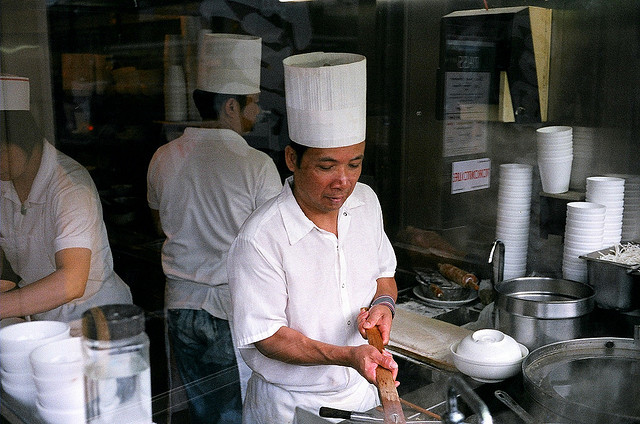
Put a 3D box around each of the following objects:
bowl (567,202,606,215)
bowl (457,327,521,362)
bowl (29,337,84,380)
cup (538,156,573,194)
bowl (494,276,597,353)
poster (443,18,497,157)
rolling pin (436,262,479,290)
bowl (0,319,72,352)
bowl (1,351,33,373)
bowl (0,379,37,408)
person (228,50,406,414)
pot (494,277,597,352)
[{"bbox_3d":[1.162,-0.017,2.381,0.083,0.028,0.081,-1,11,0],"label":"bowl"},{"bbox_3d":[0.639,0.502,2.085,0.241,0.068,0.241,-4,9,1],"label":"bowl"},{"bbox_3d":[-0.778,0.416,1.608,0.126,0.052,0.128,-1,-1,0],"label":"bowl"},{"bbox_3d":[1.071,-0.181,2.597,0.172,0.177,0.168,-5,9,1],"label":"cup"},{"bbox_3d":[0.910,0.384,2.241,0.285,0.297,0.281,-4,21,1],"label":"bowl"},{"bbox_3d":[0.754,-0.628,2.781,0.239,0.656,0.169,0,7,12],"label":"poster"},{"bbox_3d":[0.692,0.314,2.866,0.070,0.072,0.294,1,17,-40],"label":"rolling pin"},{"bbox_3d":[-0.836,0.359,1.617,0.108,0.047,0.106,1,5,0],"label":"bowl"},{"bbox_3d":[-0.890,0.436,1.612,0.076,0.045,0.068,0,5,-22],"label":"bowl"},{"bbox_3d":[-0.893,0.536,1.622,0.086,0.055,0.084,1,1,0],"label":"bowl"},{"bbox_3d":[-0.014,0.117,1.803,0.585,1.257,0.556,-2,7,0],"label":"person"},{"bbox_3d":[0.916,0.469,2.272,0.323,0.346,0.333,-3,12,1],"label":"pot"}]
